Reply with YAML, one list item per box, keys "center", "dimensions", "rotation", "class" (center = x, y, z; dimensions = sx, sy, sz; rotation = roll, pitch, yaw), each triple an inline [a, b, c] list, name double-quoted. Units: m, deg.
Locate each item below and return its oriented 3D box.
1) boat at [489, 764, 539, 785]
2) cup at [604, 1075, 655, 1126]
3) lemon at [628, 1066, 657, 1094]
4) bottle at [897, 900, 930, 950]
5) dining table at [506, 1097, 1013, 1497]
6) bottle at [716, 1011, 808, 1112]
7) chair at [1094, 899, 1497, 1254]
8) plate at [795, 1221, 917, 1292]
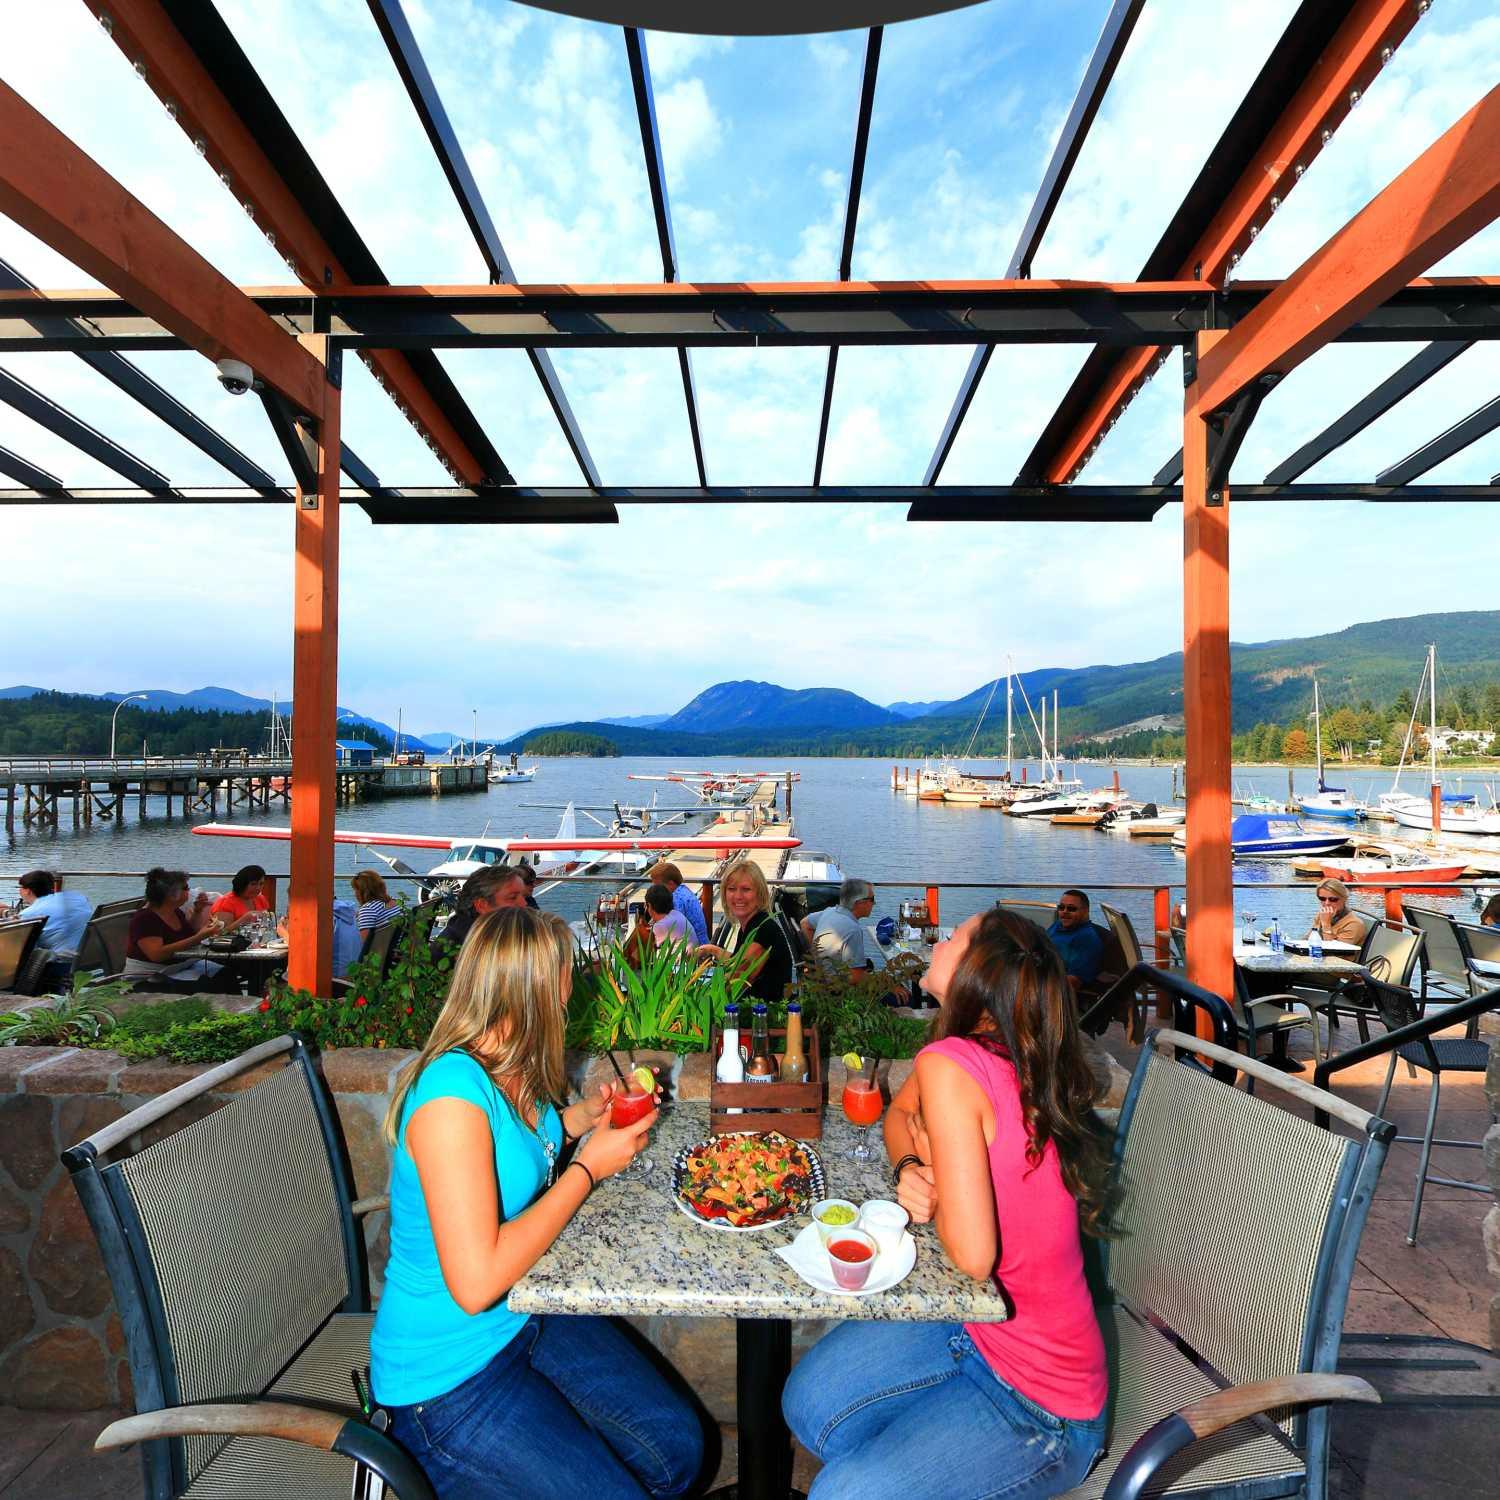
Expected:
- center: [-31.932, 3.499, 157.851]
  dimensions: [3.197, 2.636, 13.309]
  rotation: [-2, -3, -3]
  class: "boat"
- center: [-0.312, 0.907, 3.052]
  dimensions: [0.102, 0.091, 0.100]
  rotation: [4, 0, 0]
  class: "cup"
- center: [-0.274, 0.872, 3.086]
  dimensions: [0.057, 0.041, 0.076]
  rotation: [14, 1, -6]
  class: "lemon"
- center: [1.271, 1.371, 9.178]
  dimensions: [0.296, 0.449, 0.291]
  rotation: [3, -1, 0]
  class: "bottle"
- center: [0.001, 1.388, 3.033]
  dimensions: [1.019, 0.906, 0.988]
  rotation: [0, 1, -4]
  class: "dining table"
- center: [0.030, 0.900, 3.460]
  dimensions: [0.286, 0.260, 0.264]
  rotation: [0, -7, -2]
  class: "bottle"
- center: [2.480, 1.382, 5.182]
  dimensions: [0.533, 0.733, 1.578]
  rotation: [-1, 2, -21]
  class: "chair"
- center: [0.231, 1.155, 2.678]
  dimensions: [0.317, 0.085, 0.245]
  rotation: [-2, -3, -4]
  class: "plate"
